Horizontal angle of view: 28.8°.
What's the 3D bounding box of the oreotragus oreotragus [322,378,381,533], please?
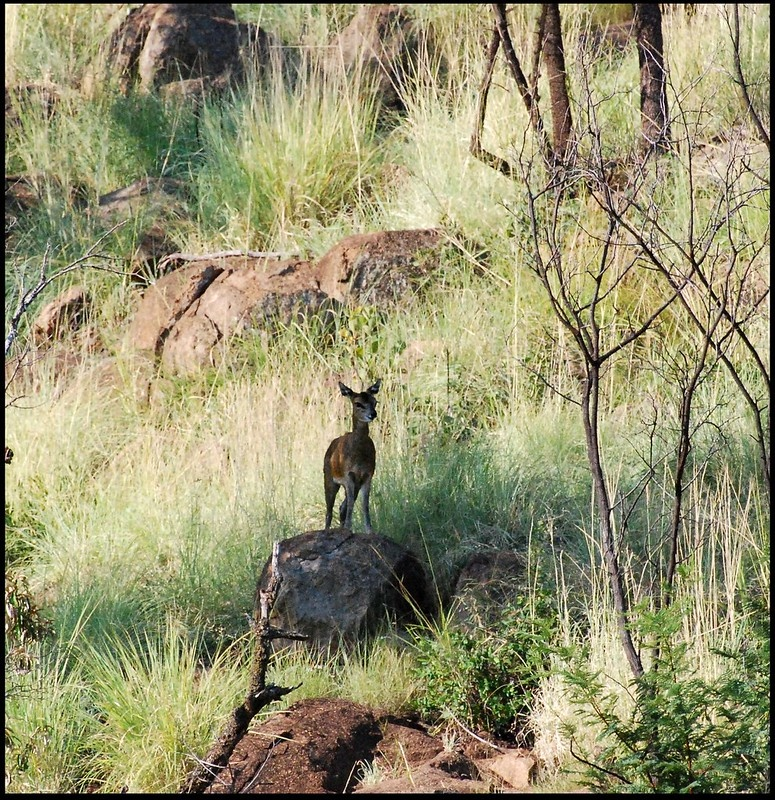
[{"bbox_3d":[-0.200,0.328,8.898,0.284,0.855,0.674,1,-7,-10],"label":"oreotragus oreotragus"}]
